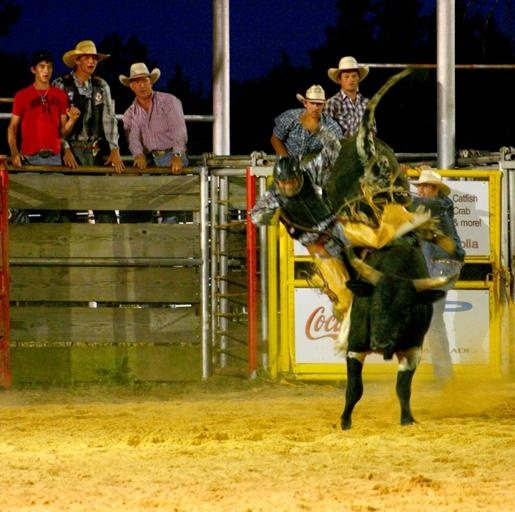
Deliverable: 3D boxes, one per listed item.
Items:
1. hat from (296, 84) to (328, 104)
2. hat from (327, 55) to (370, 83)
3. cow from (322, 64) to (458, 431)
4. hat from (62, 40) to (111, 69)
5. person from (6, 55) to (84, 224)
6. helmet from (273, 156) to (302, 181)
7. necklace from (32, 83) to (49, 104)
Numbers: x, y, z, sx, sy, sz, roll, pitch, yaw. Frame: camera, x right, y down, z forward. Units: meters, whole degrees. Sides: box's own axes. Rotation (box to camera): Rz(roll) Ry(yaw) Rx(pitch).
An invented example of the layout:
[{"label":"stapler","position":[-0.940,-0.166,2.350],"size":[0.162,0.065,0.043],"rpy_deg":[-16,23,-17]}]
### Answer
[{"label":"hat","position":[0.623,-1.820,13.128],"size":[0.279,0.113,0.291],"rpy_deg":[2,-13,-2]},{"label":"hat","position":[1.035,-2.172,13.469],"size":[0.349,0.137,0.372],"rpy_deg":[-4,-16,-2]},{"label":"cow","position":[1.145,-0.010,10.243],"size":[1.047,3.236,0.759],"rpy_deg":[-1,5,2]},{"label":"hat","position":[-1.996,-2.316,13.215],"size":[0.503,0.316,0.733],"rpy_deg":[-2,6,-6]},{"label":"person","position":[-2.507,-1.334,13.230],"size":[0.763,1.929,1.011],"rpy_deg":[-5,7,-38]},{"label":"helmet","position":[0.255,-0.758,10.058],"size":[0.244,0.208,0.171],"rpy_deg":[-1,5,0]},{"label":"necklace","position":[-2.493,-1.851,13.202],"size":[0.181,0.220,0.056],"rpy_deg":[2,-8,-2]}]
